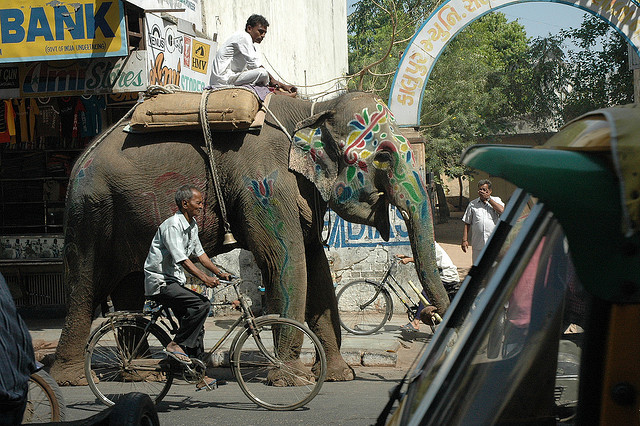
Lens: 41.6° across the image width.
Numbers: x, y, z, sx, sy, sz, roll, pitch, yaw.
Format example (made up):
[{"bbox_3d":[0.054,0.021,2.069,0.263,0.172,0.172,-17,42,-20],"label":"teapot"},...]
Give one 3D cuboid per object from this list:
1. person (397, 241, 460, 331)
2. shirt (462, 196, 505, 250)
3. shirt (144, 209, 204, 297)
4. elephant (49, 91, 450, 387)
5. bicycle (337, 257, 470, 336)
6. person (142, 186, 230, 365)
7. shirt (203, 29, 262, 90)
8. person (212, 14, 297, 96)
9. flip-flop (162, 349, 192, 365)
[{"bbox_3d":[1.550,0.994,12.031,1.023,1.485,0.613,7,-21,16],"label":"person"},{"bbox_3d":[2.382,0.152,12.512,0.282,0.750,0.572,-4,11,-33],"label":"shirt"},{"bbox_3d":[-1.623,0.410,9.225,0.565,0.880,0.615,3,3,16],"label":"shirt"},{"bbox_3d":[-1.001,0.348,10.518,4.661,3.896,2.040,-1,9,-1],"label":"elephant"},{"bbox_3d":[1.395,1.223,12.865,2.226,1.427,1.141,4,9,-6],"label":"bicycle"},{"bbox_3d":[-1.488,0.660,9.153,0.764,1.875,0.587,8,11,31],"label":"person"},{"bbox_3d":[-1.100,-2.036,10.705,0.779,0.876,0.838,1,5,-9],"label":"shirt"},{"bbox_3d":[-0.892,-2.011,11.147,0.946,1.297,0.905,0,-11,14],"label":"person"},{"bbox_3d":[-1.554,1.530,9.060,0.315,0.101,0.129,29,-2,4],"label":"flip-flop"}]
